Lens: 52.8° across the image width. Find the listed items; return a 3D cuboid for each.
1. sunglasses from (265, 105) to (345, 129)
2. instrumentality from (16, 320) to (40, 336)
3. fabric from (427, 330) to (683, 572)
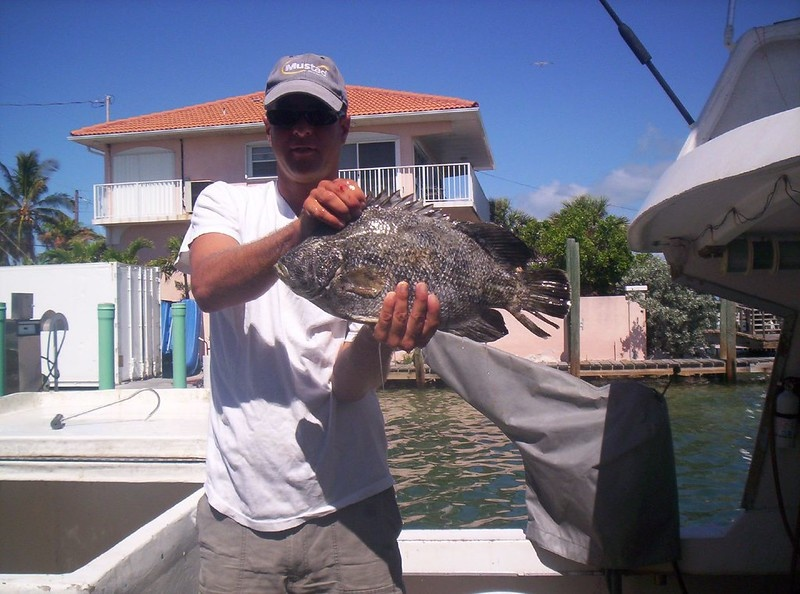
[{"bbox_3d":[-0.570,-1.067,4.739,0.412,0.118,0.048,-1,4,-3],"label":"sunglasses"},{"bbox_3d":[-5.688,0.460,12.357,0.236,0.251,0.148,-1,-4,-41],"label":"instrumentality"},{"bbox_3d":[1.309,1.248,6.988,2.151,1.756,1.291,-4,-10,41],"label":"fabric"}]
